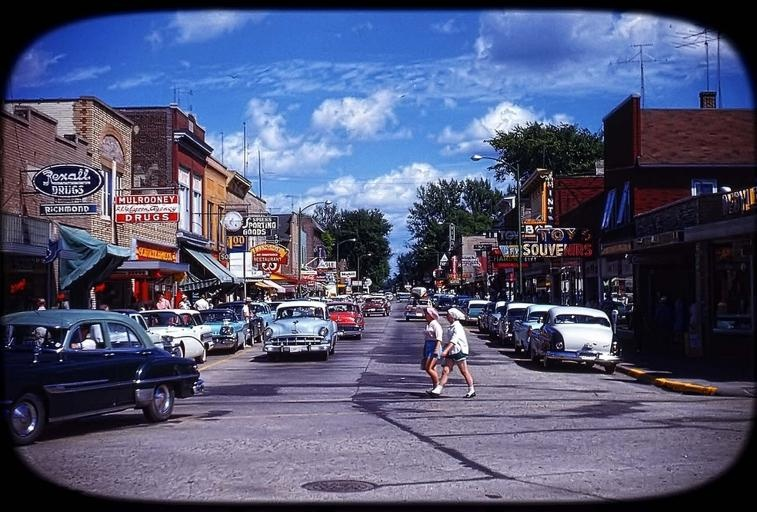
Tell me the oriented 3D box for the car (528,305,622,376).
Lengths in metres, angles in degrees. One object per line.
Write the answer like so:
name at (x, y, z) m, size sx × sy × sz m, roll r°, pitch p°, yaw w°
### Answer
car at (6.113, 2.554, 23.524) m, size 2.388 × 1.938 × 2.262 m, roll 0°, pitch -1°, yaw 10°

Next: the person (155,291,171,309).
person at (-9.761, 1.983, 34.455) m, size 0.640 × 1.194 × 0.374 m, roll -3°, pitch -14°, yaw -3°
